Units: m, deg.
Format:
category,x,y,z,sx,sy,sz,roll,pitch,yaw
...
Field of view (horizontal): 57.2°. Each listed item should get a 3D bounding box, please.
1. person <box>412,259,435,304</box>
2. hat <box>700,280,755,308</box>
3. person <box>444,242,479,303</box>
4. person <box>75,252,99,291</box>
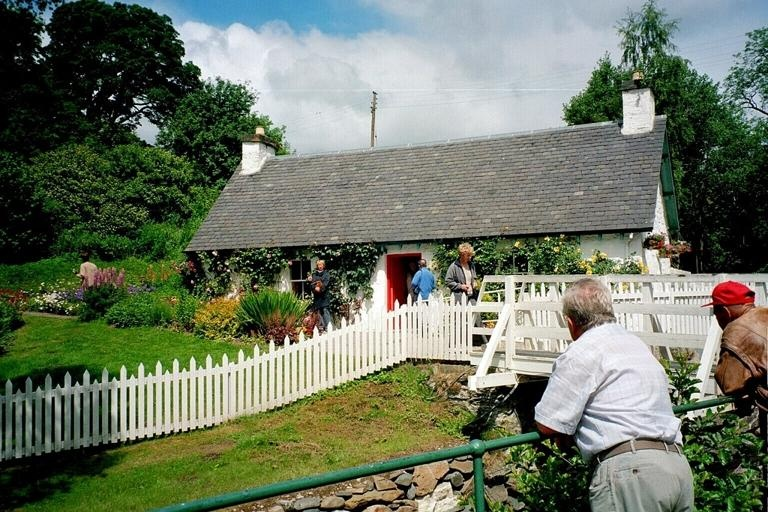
category,x,y,z,sx,sy,sz,roll,pitch,yaw
person,1.160,0.702,20.253,0.671,0.543,1.720,-7,-38,-4
hat,5.410,0.598,10.953,0.545,0.292,0.366,-5,-6,33
person,2.067,0.449,18.756,0.827,1.720,1.413,3,15,7
person,-10.587,0.437,25.219,0.619,1.240,2.446,-5,17,-23
